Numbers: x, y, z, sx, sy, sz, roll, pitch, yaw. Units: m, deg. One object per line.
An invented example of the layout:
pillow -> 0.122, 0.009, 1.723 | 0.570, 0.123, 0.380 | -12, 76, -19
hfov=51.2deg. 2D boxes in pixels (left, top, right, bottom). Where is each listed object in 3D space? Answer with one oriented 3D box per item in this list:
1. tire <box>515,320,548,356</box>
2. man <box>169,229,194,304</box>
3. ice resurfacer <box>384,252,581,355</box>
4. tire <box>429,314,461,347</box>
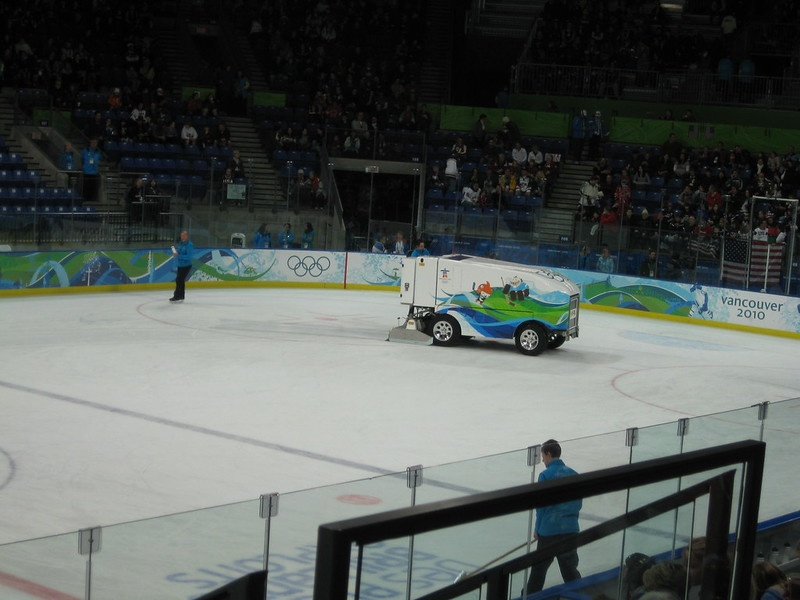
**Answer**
tire -> 3.187, 0.882, 20.187 | 0.847, 0.842, 0.297 | 1, 4, 36
man -> -6.436, -0.985, 24.632 | 0.666, 2.109, 0.699 | 6, 4, -20
ice resurfacer -> 2.206, 0.171, 20.944 | 4.312, 2.158, 1.656 | 5, 5, 22
tire -> 1.140, 0.729, 20.749 | 0.747, 0.743, 0.241 | 5, 12, 36
